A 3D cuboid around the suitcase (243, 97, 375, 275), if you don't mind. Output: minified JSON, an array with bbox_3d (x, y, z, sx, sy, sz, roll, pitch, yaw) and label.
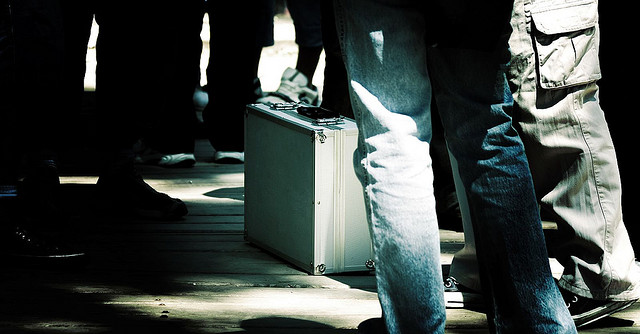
[{"bbox_3d":[-0.047,0.111,2.730,0.488,0.663,0.778,-7,18,-34],"label":"suitcase"}]

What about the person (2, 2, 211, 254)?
[{"bbox_3d":[-1.124,-0.247,3.087,0.789,1.215,0.969,3,7,11],"label":"person"}]
